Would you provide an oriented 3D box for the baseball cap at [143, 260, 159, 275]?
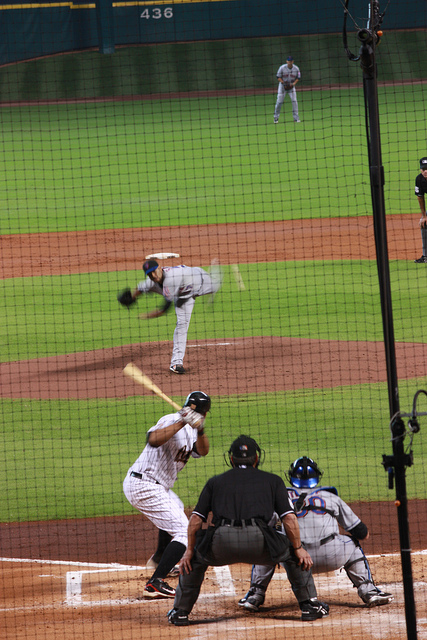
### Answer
[{"bbox_3d":[-0.764,-0.658,14.263,0.172,0.175,0.208,-4,-3,-5],"label":"baseball cap"}]

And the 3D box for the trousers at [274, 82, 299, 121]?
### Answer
[{"bbox_3d":[1.720,-5.162,27.326,0.573,1.075,1.879,-4,-4,4],"label":"trousers"}]

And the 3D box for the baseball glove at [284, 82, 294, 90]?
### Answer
[{"bbox_3d":[1.740,-5.387,26.455,0.216,0.181,0.301,-4,-4,-1],"label":"baseball glove"}]

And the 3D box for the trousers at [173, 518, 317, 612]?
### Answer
[{"bbox_3d":[0.202,1.737,8.216,1.012,0.656,0.249,-4,-3,3],"label":"trousers"}]

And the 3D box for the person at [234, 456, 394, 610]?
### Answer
[{"bbox_3d":[0.727,1.609,8.600,1.207,1.020,0.775,-2,-10,14],"label":"person"}]

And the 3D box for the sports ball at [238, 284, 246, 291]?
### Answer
[{"bbox_3d":[0.450,-0.503,17.896,0.110,0.095,0.185,1,-2,-4],"label":"sports ball"}]

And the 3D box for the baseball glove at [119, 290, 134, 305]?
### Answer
[{"bbox_3d":[-1.093,-0.280,14.583,0.151,0.189,0.182,7,15,10],"label":"baseball glove"}]

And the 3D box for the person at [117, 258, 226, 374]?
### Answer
[{"bbox_3d":[-0.343,-0.258,14.850,0.927,1.212,2.068,-4,13,33],"label":"person"}]

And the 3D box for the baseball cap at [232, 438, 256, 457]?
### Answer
[{"bbox_3d":[0.249,0.933,8.326,0.201,0.114,0.251,-1,-22,4],"label":"baseball cap"}]

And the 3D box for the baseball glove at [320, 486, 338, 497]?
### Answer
[{"bbox_3d":[0.855,1.276,8.542,0.132,0.047,0.095,2,4,39],"label":"baseball glove"}]

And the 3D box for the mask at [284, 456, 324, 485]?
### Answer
[{"bbox_3d":[0.676,1.125,8.599,0.215,0.147,0.255,0,-12,-2],"label":"mask"}]

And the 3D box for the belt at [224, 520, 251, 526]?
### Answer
[{"bbox_3d":[0.174,1.432,8.143,0.188,0.045,0.023,-4,-3,8],"label":"belt"}]

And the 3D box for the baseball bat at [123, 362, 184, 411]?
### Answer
[{"bbox_3d":[-0.667,0.773,12.993,0.078,0.752,0.151,-35,-21,-50],"label":"baseball bat"}]

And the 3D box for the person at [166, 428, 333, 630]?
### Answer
[{"bbox_3d":[0.256,1.628,8.677,1.437,1.424,0.872,1,-13,10],"label":"person"}]

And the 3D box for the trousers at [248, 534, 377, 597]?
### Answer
[{"bbox_3d":[0.846,1.832,8.498,0.885,0.451,1.065,-4,7,-7],"label":"trousers"}]
